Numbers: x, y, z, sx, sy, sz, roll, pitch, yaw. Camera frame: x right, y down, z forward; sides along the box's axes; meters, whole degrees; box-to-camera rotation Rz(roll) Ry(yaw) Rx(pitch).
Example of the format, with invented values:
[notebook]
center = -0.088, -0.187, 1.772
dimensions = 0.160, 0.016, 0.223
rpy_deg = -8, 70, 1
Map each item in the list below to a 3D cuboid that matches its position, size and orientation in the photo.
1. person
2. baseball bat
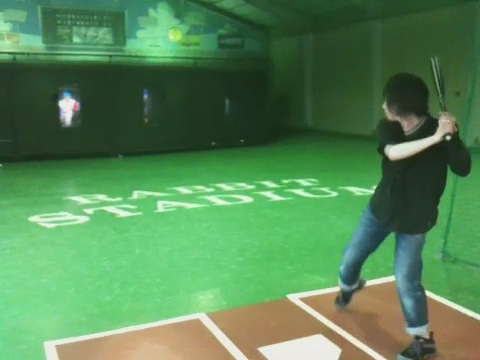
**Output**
[person]
center = 1.893, 0.415, 5.324
dimensions = 0.710, 3.244, 1.195
rpy_deg = -13, 19, -41
[baseball bat]
center = 2.279, -0.918, 5.042
dimensions = 0.172, 0.943, 0.146
rpy_deg = -13, 7, 17
